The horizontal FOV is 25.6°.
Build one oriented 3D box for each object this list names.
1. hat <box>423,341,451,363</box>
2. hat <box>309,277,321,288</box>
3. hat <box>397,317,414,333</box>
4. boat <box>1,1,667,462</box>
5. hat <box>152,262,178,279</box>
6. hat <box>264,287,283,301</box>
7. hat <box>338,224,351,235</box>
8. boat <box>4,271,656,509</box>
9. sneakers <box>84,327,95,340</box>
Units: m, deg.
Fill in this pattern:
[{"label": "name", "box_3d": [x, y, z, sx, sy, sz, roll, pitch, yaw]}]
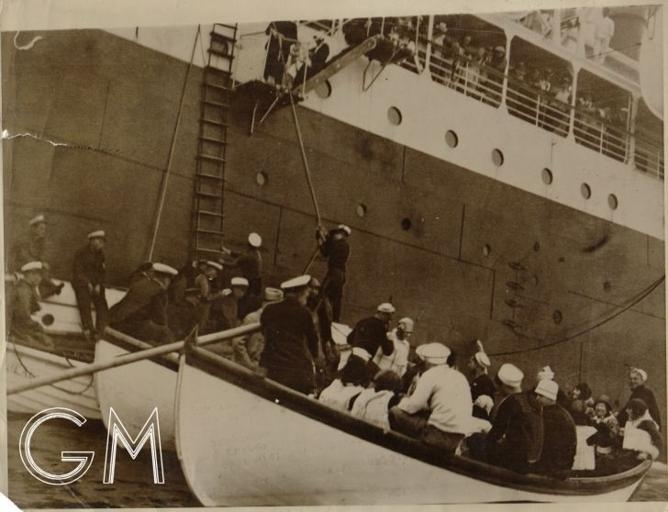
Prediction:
[{"label": "hat", "box_3d": [1.146, 1.105, 16.327, 0.244, 0.162, 0.203, 4, 16, 18]}, {"label": "hat", "box_3d": [-0.202, 0.320, 16.144, 0.113, 0.119, 0.090, -5, 3, -9]}, {"label": "hat", "box_3d": [0.812, 0.801, 16.315, 0.169, 0.160, 0.136, -5, 4, 18]}, {"label": "boat", "box_3d": [-0.277, -1.144, 18.008, 8.238, 5.866, 4.723, 0, 3, -14]}, {"label": "hat", "box_3d": [-1.841, 0.176, 16.046, 0.218, 0.074, 0.169, 10, 2, 1]}, {"label": "hat", "box_3d": [-0.660, 0.438, 16.129, 0.167, 0.118, 0.132, -4, 6, -30]}, {"label": "hat", "box_3d": [0.119, -0.283, 16.353, 0.149, 0.084, 0.040, 36, -6, -7]}, {"label": "boat", "box_3d": [-0.130, 1.524, 16.637, 7.743, 2.520, 2.551, 8, -17, -19]}, {"label": "sneakers", "box_3d": [-2.656, 0.886, 15.971, 0.112, 0.136, 0.095, 6, 4, 13]}]
